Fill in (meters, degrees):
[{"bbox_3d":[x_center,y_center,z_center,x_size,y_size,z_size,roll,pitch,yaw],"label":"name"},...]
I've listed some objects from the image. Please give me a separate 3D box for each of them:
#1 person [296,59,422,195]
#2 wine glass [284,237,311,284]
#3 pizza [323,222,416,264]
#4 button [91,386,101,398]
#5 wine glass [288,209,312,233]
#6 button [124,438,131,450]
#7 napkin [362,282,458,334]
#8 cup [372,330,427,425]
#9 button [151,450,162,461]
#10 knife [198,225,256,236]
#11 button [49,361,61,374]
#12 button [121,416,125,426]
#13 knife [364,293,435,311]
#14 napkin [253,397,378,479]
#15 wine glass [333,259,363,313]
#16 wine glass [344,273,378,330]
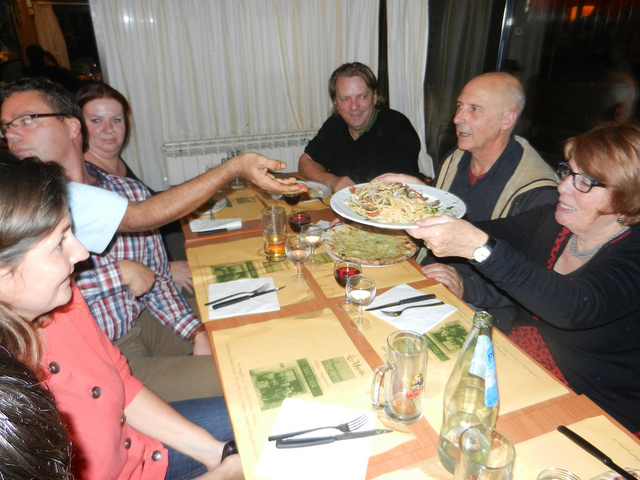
[{"bbox_3d":[0.325,-0.910,3.615,1.263,1.130,0.772,16,38,40],"label":"person"},{"bbox_3d":[-0.099,0.107,2.009,0.106,0.184,0.105,10,17,20],"label":"wine glass"},{"bbox_3d":[0.286,0.019,2.300,0.300,0.054,0.299,0,26,-9],"label":"pizza"},{"bbox_3d":[-0.804,0.545,1.458,0.029,0.031,0.007,-3,2,26],"label":"button"},{"bbox_3d":[-0.112,-0.118,2.459,0.120,0.132,0.132,-1,10,0],"label":"wine glass"},{"bbox_3d":[-0.742,0.784,1.565,0.029,0.009,0.030,20,47,-43],"label":"button"},{"bbox_3d":[0.396,0.297,1.769,0.317,0.019,0.291,24,39,38],"label":"napkin"},{"bbox_3d":[0.245,0.481,1.377,0.226,0.245,0.131,0,8,-35],"label":"cup"},{"bbox_3d":[-0.661,0.867,1.639,0.037,0.022,0.032,-8,29,-9],"label":"button"},{"bbox_3d":[-0.578,-0.069,2.495,0.336,0.031,0.043,-13,31,-18],"label":"knife"},{"bbox_3d":[-0.920,0.443,1.405,0.029,0.040,0.023,-21,33,-30],"label":"button"},{"bbox_3d":[-0.754,0.689,1.552,0.007,0.026,0.026,25,39,-38],"label":"button"},{"bbox_3d":[0.354,0.275,1.789,0.270,0.025,0.037,-9,29,-9],"label":"knife"},{"bbox_3d":[-0.002,0.626,1.258,0.331,0.045,0.280,5,30,13],"label":"napkin"},{"bbox_3d":[0.139,0.229,1.914,0.140,0.239,0.149,12,-7,25],"label":"wine glass"},{"bbox_3d":[0.176,0.269,1.721,0.128,0.201,0.136,9,33,18],"label":"wine glass"}]
